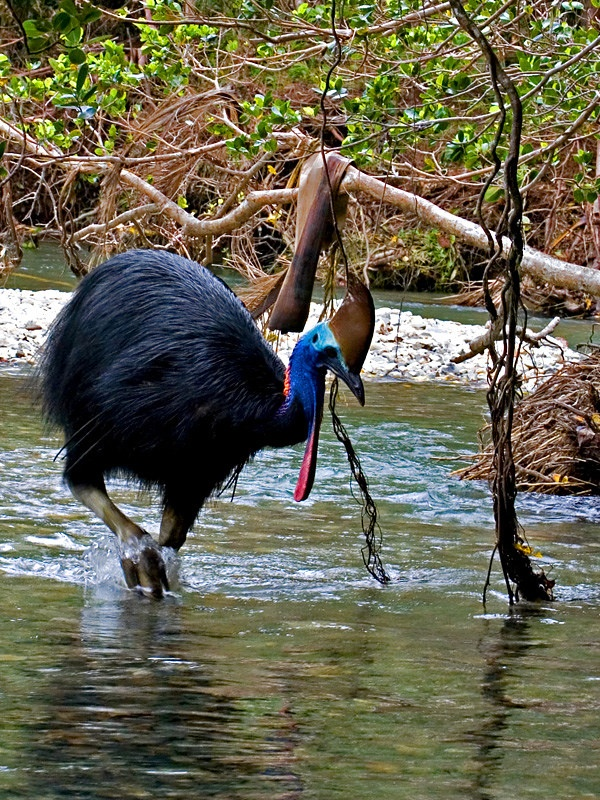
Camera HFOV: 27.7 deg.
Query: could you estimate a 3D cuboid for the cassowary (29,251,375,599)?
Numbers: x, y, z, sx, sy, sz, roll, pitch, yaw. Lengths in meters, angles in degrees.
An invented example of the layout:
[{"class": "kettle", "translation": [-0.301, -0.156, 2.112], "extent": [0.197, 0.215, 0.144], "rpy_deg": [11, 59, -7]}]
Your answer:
[{"class": "cassowary", "translation": [-0.296, 0.159, 4.847], "extent": [1.023, 1.211, 1.749], "rpy_deg": [6, 2, -34]}]
